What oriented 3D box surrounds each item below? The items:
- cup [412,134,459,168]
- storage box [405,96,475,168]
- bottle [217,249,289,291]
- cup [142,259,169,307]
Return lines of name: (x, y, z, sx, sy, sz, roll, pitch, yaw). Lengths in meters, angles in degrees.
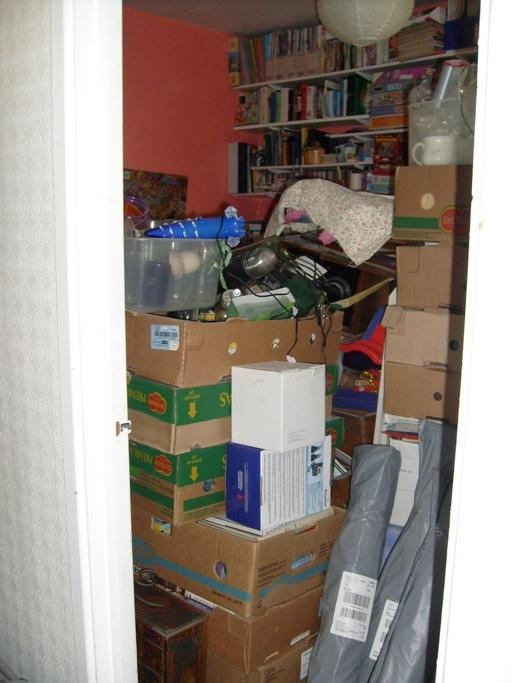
cup: (0.537, -0.572, 1.738, 0.118, 0.080, 0.075, -5, 18, -7)
storage box: (0.535, -0.632, 1.737, 0.225, 0.169, 0.168, -5, 20, -2)
bottle: (-0.059, -0.252, 2.020, 0.207, 0.105, 0.152, -10, 17, -18)
cup: (-0.310, -0.167, 1.797, 0.087, 0.149, 0.090, 5, 30, -3)
